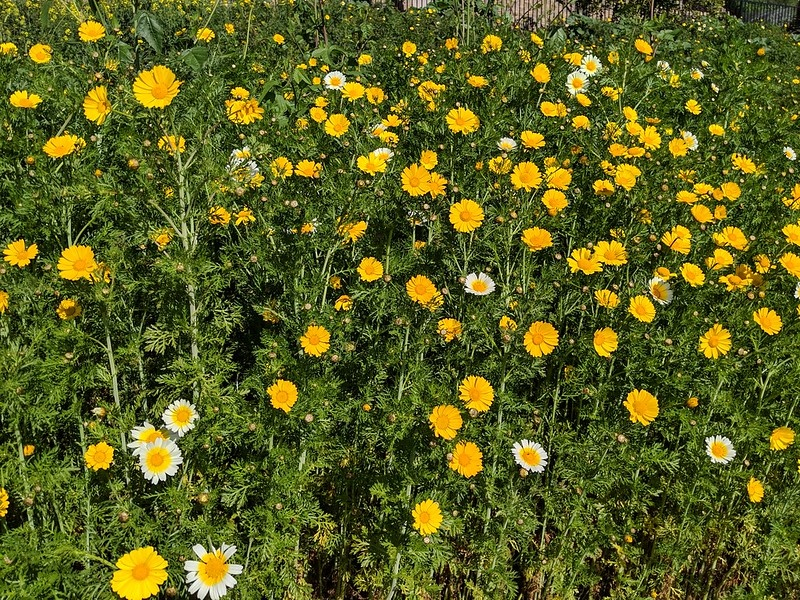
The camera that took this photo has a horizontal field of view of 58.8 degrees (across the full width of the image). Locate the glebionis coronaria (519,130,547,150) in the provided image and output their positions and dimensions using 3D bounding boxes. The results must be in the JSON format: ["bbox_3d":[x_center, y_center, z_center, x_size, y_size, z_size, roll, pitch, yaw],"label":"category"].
[{"bbox_3d":[0.724,-0.854,3.844,0.100,0.042,0.114,-20,77,2],"label":"glebionis coronaria"}]

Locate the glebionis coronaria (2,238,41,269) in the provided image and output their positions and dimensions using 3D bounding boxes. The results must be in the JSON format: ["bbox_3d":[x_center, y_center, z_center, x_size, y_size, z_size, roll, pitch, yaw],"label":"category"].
[{"bbox_3d":[-1.851,-0.222,3.483,0.142,0.047,0.149,37,75,9],"label":"glebionis coronaria"}]

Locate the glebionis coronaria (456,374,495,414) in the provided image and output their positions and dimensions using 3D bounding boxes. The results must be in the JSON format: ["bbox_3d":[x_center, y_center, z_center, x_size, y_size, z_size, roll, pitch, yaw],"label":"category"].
[{"bbox_3d":[0.363,0.459,3.445,0.157,0.128,0.170,-15,48,-33],"label":"glebionis coronaria"}]

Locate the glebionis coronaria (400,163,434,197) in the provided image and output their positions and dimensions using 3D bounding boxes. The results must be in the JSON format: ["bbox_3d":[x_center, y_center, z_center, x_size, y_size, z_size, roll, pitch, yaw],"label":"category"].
[{"bbox_3d":[0.081,-0.609,3.605,0.158,0.115,0.131,18,38,1],"label":"glebionis coronaria"}]

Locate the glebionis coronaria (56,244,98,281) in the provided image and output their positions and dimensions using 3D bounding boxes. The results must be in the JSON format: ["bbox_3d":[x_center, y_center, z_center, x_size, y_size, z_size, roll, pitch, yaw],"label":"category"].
[{"bbox_3d":[-1.532,-0.174,3.372,0.151,0.061,0.181,10,78,-9],"label":"glebionis coronaria"}]

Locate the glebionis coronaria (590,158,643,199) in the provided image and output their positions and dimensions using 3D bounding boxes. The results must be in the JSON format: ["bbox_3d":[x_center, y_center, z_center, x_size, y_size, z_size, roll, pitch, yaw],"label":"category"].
[{"bbox_3d":[1.161,-0.648,3.826,0.199,0.081,0.229,-12,77,14],"label":"glebionis coronaria"}]

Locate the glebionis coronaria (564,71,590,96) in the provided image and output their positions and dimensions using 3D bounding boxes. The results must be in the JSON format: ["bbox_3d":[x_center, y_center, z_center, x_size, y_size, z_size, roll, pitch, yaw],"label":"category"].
[{"bbox_3d":[1.063,-1.290,4.239,0.133,0.160,0.052,6,3,-11],"label":"glebionis coronaria"}]

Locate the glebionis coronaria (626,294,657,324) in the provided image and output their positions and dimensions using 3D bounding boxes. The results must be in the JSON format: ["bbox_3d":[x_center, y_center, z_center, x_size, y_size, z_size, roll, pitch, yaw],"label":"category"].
[{"bbox_3d":[1.220,0.061,3.583,0.139,0.116,0.138,7,39,-12],"label":"glebionis coronaria"}]

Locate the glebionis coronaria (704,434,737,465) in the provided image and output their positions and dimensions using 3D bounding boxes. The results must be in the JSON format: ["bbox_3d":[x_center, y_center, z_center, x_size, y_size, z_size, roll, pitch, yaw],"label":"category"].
[{"bbox_3d":[1.657,0.771,3.681,0.170,0.080,0.135,-13,48,-32],"label":"glebionis coronaria"}]

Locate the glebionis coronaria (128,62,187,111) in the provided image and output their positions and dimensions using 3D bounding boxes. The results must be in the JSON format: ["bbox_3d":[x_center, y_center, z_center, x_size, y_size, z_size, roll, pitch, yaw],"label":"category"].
[{"bbox_3d":[-1.124,-0.965,3.277,0.194,0.223,0.208,-4,42,-23],"label":"glebionis coronaria"}]

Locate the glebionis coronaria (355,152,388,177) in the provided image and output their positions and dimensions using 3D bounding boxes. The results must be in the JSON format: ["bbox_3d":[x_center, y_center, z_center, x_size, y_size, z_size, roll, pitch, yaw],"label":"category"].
[{"bbox_3d":[-0.143,-0.694,3.621,0.147,0.078,0.147,10,40,-10],"label":"glebionis coronaria"}]

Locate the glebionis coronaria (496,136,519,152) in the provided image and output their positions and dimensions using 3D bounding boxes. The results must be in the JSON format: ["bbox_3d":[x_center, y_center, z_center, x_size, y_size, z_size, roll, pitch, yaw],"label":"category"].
[{"bbox_3d":[0.595,-0.833,3.882,0.084,0.037,0.095,30,69,8],"label":"glebionis coronaria"}]

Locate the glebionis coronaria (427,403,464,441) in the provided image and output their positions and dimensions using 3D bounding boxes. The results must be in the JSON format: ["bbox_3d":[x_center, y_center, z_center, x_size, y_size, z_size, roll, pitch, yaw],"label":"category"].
[{"bbox_3d":[0.221,0.569,3.343,0.150,0.055,0.155,-33,87,-20],"label":"glebionis coronaria"}]

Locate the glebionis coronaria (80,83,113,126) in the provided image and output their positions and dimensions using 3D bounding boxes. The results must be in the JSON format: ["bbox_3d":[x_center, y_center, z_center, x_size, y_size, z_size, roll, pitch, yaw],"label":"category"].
[{"bbox_3d":[-1.456,-0.936,3.462,0.176,0.216,0.077,-11,-2,33],"label":"glebionis coronaria"}]

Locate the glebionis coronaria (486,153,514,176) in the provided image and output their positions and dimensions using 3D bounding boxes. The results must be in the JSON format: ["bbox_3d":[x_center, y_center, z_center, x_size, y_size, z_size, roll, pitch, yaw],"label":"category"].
[{"bbox_3d":[0.530,-0.699,3.751,0.120,0.120,0.098,15,38,-2],"label":"glebionis coronaria"}]

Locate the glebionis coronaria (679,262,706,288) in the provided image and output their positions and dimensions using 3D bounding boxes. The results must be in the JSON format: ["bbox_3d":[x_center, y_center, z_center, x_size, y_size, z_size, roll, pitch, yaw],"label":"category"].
[{"bbox_3d":[1.554,-0.116,3.750,0.146,0.088,0.123,8,39,-11],"label":"glebionis coronaria"}]

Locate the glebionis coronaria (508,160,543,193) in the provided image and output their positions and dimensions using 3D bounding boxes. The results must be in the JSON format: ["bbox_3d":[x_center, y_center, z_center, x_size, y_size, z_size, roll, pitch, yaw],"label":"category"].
[{"bbox_3d":[0.652,-0.627,3.691,0.167,0.143,0.126,24,38,9],"label":"glebionis coronaria"}]

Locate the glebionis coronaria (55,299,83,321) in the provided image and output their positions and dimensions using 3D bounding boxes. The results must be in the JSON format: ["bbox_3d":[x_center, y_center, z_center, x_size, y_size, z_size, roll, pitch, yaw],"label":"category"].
[{"bbox_3d":[-1.637,0.045,3.510,0.110,0.096,0.081,17,38,1],"label":"glebionis coronaria"}]

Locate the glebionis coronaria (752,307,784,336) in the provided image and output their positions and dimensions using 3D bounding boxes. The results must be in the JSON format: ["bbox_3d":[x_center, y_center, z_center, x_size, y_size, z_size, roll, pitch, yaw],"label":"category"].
[{"bbox_3d":[1.919,0.113,3.730,0.137,0.048,0.138,44,79,11],"label":"glebionis coronaria"}]

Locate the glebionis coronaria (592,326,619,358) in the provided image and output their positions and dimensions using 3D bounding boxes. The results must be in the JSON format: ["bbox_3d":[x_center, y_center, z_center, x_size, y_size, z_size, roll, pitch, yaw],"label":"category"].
[{"bbox_3d":[1.021,0.205,3.518,0.126,0.107,0.126,24,39,9],"label":"glebionis coronaria"}]

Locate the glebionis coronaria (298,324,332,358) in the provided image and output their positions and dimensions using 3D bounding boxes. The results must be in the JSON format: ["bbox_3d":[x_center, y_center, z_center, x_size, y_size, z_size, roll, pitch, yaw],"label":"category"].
[{"bbox_3d":[-0.416,0.189,3.476,0.132,0.088,0.149,-23,54,-39],"label":"glebionis coronaria"}]

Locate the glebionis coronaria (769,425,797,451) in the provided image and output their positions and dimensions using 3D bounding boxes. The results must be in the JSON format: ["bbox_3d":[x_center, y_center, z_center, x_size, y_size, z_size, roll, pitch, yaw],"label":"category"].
[{"bbox_3d":[1.963,0.711,3.661,0.098,0.139,0.086,-2,40,-21],"label":"glebionis coronaria"}]

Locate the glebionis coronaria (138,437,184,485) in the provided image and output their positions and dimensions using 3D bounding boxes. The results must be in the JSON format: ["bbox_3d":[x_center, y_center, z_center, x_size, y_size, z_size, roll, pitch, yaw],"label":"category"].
[{"bbox_3d":[-1.125,0.739,3.304,0.210,0.073,0.246,20,36,2],"label":"glebionis coronaria"}]

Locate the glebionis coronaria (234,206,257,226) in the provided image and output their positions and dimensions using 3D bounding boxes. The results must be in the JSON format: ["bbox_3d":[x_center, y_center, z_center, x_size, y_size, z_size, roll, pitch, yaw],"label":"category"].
[{"bbox_3d":[-0.801,-0.423,3.663,0.107,0.109,0.086,2,39,-18],"label":"glebionis coronaria"}]

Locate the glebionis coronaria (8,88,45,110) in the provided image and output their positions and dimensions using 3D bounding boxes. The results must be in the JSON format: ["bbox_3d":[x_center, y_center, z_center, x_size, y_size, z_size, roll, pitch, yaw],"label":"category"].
[{"bbox_3d":[-1.979,-1.034,3.752,0.146,0.130,0.144,-12,46,-31],"label":"glebionis coronaria"}]

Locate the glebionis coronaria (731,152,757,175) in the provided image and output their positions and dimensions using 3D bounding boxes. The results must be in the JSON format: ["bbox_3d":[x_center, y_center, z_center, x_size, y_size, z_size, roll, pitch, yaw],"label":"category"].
[{"bbox_3d":[2.089,-0.799,4.307,0.157,0.037,0.156,-34,56,-28],"label":"glebionis coronaria"}]

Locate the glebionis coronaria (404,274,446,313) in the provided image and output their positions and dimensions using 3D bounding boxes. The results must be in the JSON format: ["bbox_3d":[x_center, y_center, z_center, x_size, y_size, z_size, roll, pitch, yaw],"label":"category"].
[{"bbox_3d":[0.115,-0.032,3.485,0.150,0.046,0.177,-9,72,-20],"label":"glebionis coronaria"}]

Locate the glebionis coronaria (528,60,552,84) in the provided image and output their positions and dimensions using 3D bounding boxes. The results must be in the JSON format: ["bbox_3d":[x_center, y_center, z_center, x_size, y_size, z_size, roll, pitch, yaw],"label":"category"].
[{"bbox_3d":[0.813,-1.292,4.108,0.116,0.103,0.097,21,38,5],"label":"glebionis coronaria"}]

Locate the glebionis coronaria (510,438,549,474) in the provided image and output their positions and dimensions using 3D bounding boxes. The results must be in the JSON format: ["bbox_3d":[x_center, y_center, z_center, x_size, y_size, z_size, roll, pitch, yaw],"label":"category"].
[{"bbox_3d":[0.644,0.764,3.504,0.156,0.066,0.158,41,60,21],"label":"glebionis coronaria"}]

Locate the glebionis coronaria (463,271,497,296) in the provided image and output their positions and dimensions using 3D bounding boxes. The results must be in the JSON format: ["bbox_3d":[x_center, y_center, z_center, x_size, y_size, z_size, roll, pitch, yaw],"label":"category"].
[{"bbox_3d":[0.399,-0.078,3.584,0.150,0.065,0.122,20,39,2],"label":"glebionis coronaria"}]

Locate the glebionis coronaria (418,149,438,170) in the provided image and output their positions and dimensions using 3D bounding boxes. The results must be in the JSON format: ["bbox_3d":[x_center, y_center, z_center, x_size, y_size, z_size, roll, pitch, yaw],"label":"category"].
[{"bbox_3d":[0.155,-0.735,3.754,0.095,0.039,0.119,-5,87,8],"label":"glebionis coronaria"}]

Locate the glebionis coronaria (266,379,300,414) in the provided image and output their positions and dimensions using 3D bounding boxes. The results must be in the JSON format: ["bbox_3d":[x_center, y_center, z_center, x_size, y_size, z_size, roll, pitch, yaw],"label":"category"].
[{"bbox_3d":[-0.569,0.470,3.430,0.150,0.140,0.157,8,39,-11],"label":"glebionis coronaria"}]

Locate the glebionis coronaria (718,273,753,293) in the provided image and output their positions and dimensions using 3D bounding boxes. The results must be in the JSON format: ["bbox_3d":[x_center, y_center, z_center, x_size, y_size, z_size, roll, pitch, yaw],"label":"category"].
[{"bbox_3d":[1.794,-0.094,3.782,0.102,0.030,0.113,7,45,-16],"label":"glebionis coronaria"}]

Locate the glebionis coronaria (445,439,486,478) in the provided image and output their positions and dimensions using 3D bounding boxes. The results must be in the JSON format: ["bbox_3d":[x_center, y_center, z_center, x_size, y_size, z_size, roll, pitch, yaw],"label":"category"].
[{"bbox_3d":[0.309,0.755,3.387,0.157,0.094,0.168,40,44,25],"label":"glebionis coronaria"}]

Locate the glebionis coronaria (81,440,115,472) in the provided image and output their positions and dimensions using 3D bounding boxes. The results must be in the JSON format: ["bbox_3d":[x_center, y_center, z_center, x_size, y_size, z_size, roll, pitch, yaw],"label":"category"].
[{"bbox_3d":[-1.409,0.726,3.321,0.126,0.087,0.119,-7,44,-27],"label":"glebionis coronaria"}]

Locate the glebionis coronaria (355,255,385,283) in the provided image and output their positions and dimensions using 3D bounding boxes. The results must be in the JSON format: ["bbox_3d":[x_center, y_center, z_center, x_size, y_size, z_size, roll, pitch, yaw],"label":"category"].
[{"bbox_3d":[-0.151,-0.130,3.645,0.144,0.147,0.136,2,40,-17],"label":"glebionis coronaria"}]

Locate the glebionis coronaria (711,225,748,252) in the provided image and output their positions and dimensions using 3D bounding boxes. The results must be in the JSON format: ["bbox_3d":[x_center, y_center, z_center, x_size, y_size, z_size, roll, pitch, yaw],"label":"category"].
[{"bbox_3d":[1.791,-0.329,3.827,0.137,0.049,0.145,-33,68,-6],"label":"glebionis coronaria"}]

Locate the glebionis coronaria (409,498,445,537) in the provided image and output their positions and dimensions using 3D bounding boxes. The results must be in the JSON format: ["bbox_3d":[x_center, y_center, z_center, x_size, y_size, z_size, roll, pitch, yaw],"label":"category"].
[{"bbox_3d":[0.130,1.056,3.381,0.167,0.198,0.140,4,39,-15],"label":"glebionis coronaria"}]

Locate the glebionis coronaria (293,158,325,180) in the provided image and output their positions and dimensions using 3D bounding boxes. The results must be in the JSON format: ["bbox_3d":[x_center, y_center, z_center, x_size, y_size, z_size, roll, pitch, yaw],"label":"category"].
[{"bbox_3d":[-0.484,-0.687,3.767,0.118,0.044,0.125,-32,77,-13],"label":"glebionis coronaria"}]

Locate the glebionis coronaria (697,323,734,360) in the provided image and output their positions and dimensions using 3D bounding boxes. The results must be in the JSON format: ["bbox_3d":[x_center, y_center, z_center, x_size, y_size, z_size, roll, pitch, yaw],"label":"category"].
[{"bbox_3d":[1.609,0.215,3.627,0.158,0.044,0.175,-23,86,-2],"label":"glebionis coronaria"}]

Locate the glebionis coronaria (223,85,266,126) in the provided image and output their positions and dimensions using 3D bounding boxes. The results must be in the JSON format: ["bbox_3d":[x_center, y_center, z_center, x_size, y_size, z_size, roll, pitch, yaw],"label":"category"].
[{"bbox_3d":[-0.909,-1.075,4.079,0.238,0.118,0.246,-17,59,-44],"label":"glebionis coronaria"}]

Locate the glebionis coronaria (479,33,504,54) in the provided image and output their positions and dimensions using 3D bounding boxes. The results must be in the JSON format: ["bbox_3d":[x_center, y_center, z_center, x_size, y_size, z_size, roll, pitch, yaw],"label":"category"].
[{"bbox_3d":[0.569,-1.560,4.400,0.123,0.146,0.057,-9,8,5],"label":"glebionis coronaria"}]

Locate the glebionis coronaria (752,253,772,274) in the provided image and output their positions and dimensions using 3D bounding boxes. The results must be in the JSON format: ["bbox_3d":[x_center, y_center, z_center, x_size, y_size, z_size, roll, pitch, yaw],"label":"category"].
[{"bbox_3d":[1.972,-0.194,3.861,0.095,0.096,0.064,35,42,23],"label":"glebionis coronaria"}]

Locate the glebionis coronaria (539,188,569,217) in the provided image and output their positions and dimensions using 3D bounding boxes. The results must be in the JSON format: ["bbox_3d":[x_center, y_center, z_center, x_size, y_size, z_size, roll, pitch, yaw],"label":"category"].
[{"bbox_3d":[0.804,-0.510,3.687,0.122,0.050,0.139,-22,91,1],"label":"glebionis coronaria"}]

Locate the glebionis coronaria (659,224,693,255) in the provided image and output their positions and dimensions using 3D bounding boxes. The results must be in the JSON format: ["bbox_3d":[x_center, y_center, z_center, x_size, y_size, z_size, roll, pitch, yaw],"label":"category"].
[{"bbox_3d":[1.465,-0.318,3.735,0.127,0.060,0.155,-4,54,4],"label":"glebionis coronaria"}]

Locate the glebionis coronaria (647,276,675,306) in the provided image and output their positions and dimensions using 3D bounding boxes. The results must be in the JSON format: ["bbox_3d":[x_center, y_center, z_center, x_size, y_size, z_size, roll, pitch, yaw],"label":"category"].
[{"bbox_3d":[1.338,-0.032,3.637,0.128,0.046,0.128,53,53,-7],"label":"glebionis coronaria"}]
